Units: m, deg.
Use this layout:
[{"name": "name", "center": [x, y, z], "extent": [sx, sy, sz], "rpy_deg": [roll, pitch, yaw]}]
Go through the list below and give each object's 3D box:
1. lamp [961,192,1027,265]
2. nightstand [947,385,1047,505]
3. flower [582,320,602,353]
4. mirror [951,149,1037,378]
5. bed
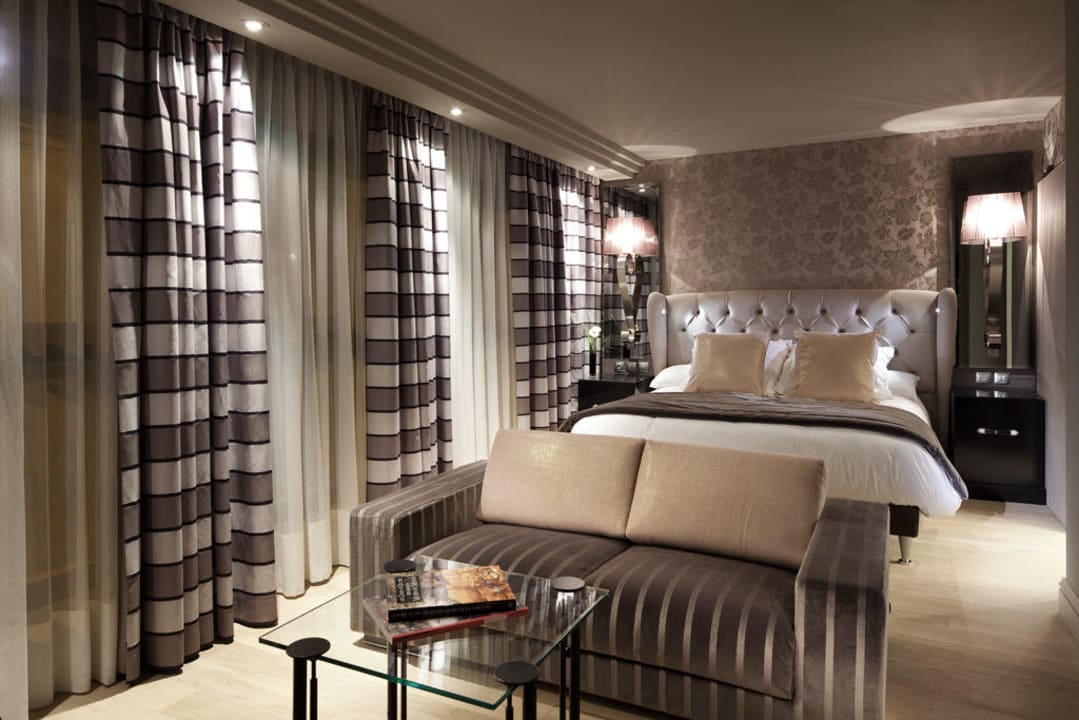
[{"name": "lamp", "center": [3.476, -1.071, 5.730], "extent": [0.387, 0.395, 0.389], "rpy_deg": [7, 16, 44]}, {"name": "nightstand", "center": [3.542, 0.581, 5.736], "extent": [0.657, 0.805, 0.591], "rpy_deg": [3, 22, 39]}, {"name": "flower", "center": [0.502, -0.221, 7.094], "extent": [0.267, 0.379, 0.243], "rpy_deg": [0, 3, 10]}, {"name": "mirror", "center": [3.478, -0.621, 5.769], "extent": [0.492, 1.326, 0.474], "rpy_deg": [0, -1, 43]}, {"name": "bed", "center": [1.993, 0.253, 5.315], "extent": [2.212, 1.253, 2.339], "rpy_deg": [0, 1, 33]}]
